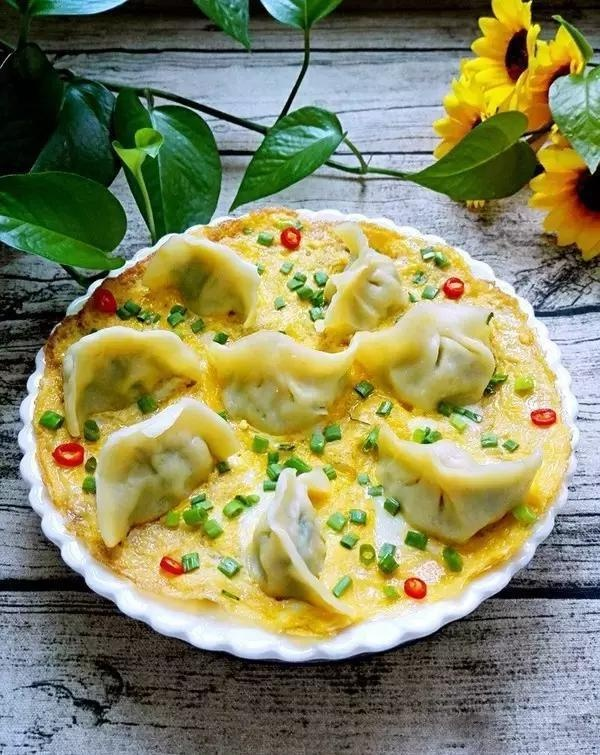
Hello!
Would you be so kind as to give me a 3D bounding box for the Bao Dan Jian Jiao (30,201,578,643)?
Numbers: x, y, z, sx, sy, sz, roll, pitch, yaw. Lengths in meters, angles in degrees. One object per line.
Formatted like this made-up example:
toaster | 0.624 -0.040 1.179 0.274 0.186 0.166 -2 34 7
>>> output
Bao Dan Jian Jiao | -0.012 0.197 3.202 2.093 1.727 0.894 -7 -64 -8
